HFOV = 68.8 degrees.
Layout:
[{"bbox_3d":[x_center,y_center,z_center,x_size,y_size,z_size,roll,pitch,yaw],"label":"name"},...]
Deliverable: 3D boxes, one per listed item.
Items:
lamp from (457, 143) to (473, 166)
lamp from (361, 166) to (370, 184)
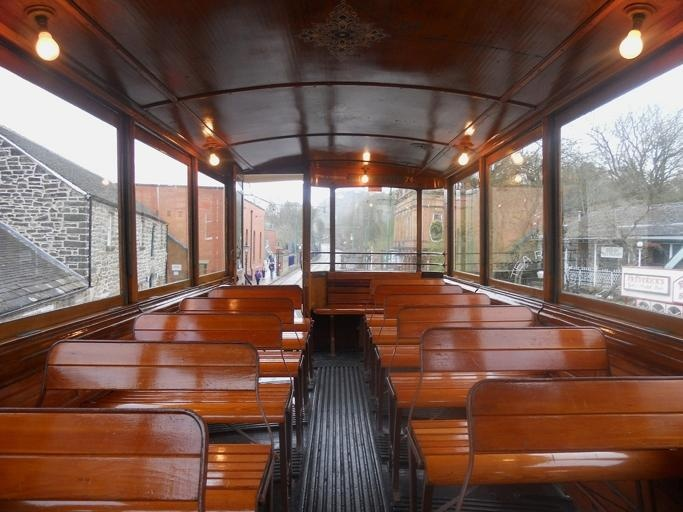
[{"bbox_3d":[1.659,-1.379,6.680,0.216,0.327,0.152,11,-35,19],"label":"lamp"},{"bbox_3d":[0.401,-1.360,8.330,0.137,0.288,0.388,-1,5,4],"label":"lamp"}]
